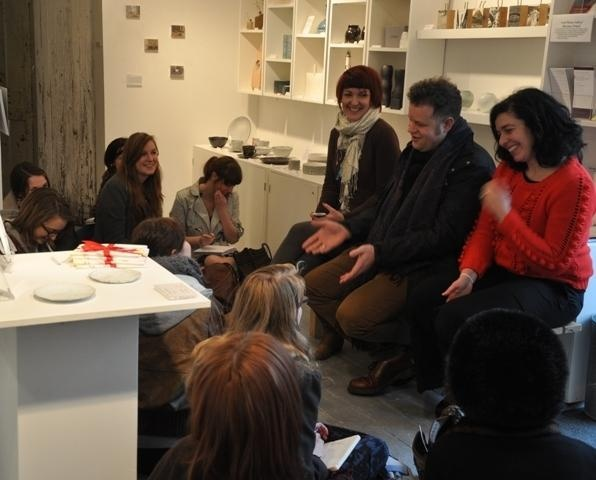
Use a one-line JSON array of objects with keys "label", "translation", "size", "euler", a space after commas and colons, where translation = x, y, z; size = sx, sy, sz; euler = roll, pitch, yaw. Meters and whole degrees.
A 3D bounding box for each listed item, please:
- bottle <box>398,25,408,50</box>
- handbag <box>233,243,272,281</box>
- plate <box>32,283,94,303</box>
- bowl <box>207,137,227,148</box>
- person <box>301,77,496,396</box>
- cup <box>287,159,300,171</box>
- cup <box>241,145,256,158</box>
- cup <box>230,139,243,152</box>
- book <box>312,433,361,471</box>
[{"label": "bottle", "translation": [0.831, -1.598, 3.761], "size": [0.060, 0.205, 0.237], "euler": [4, 12, 9]}, {"label": "handbag", "translation": [-0.315, 0.152, 3.258], "size": [0.205, 0.206, 0.114], "euler": [-10, -15, -37]}, {"label": "plate", "translation": [-0.781, 0.180, 1.593], "size": [0.161, 0.025, 0.167], "euler": [13, 16, 40]}, {"label": "bowl", "translation": [-1.011, -1.233, 5.988], "size": [0.165, 0.093, 0.173], "euler": [0, 15, 0]}, {"label": "person", "translation": [0.606, -0.048, 3.021], "size": [0.963, 1.856, 0.865], "euler": [1, 13, -12]}, {"label": "cup", "translation": [-0.042, -0.765, 4.874], "size": [0.105, 0.088, 0.109], "euler": [3, 22, -1]}, {"label": "cup", "translation": [-0.568, -1.004, 5.473], "size": [0.114, 0.119, 0.154], "euler": [0, -2, -6]}, {"label": "cup", "translation": [-0.748, -1.136, 5.799], "size": [0.117, 0.117, 0.157], "euler": [10, 16, 34]}, {"label": "book", "translation": [0.145, 0.798, 1.797], "size": [0.133, 0.036, 0.140], "euler": [4, 19, 30]}]
